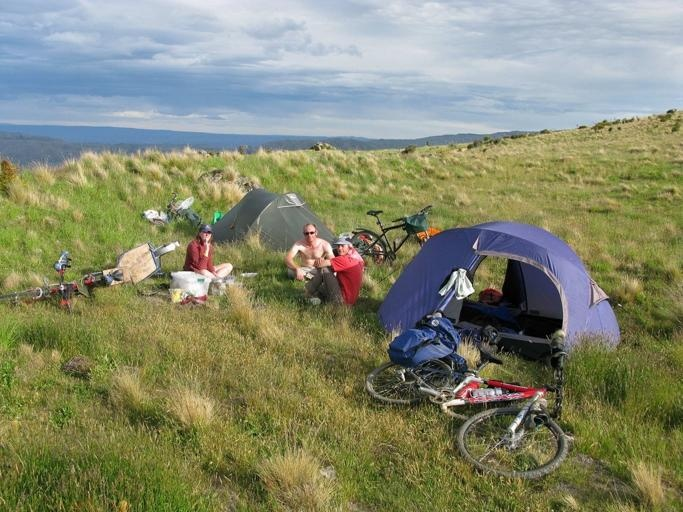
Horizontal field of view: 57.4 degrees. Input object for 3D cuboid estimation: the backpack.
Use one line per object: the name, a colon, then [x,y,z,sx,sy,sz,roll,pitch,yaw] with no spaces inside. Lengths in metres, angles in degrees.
backpack: [1.160,1.194,8.701,0.850,0.381,0.598,-21,19,-31]

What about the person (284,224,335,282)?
person: [-0.726,-0.056,13.262,1.262,1.466,1.052,2,8,-2]

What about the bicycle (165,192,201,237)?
bicycle: [-4.444,-1.222,17.541,0.958,0.604,1.745,-3,20,-32]

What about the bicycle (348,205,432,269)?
bicycle: [1.207,-0.557,15.626,2.275,1.484,1.206,-6,16,10]

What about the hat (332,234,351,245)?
hat: [0.044,-0.319,12.245,0.238,0.148,0.355,1,1,13]

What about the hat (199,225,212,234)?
hat: [-2.820,-0.562,12.875,0.195,0.148,0.258,4,-5,-24]

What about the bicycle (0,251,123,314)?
bicycle: [-5.300,0.316,11.909,1.109,1.112,2.021,17,18,30]
